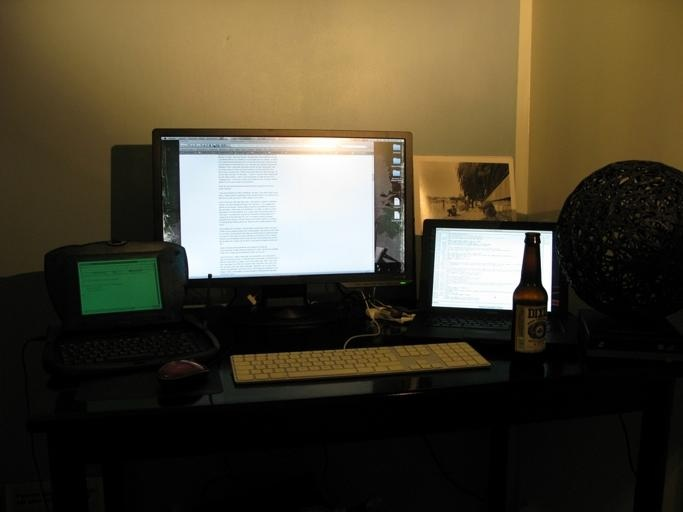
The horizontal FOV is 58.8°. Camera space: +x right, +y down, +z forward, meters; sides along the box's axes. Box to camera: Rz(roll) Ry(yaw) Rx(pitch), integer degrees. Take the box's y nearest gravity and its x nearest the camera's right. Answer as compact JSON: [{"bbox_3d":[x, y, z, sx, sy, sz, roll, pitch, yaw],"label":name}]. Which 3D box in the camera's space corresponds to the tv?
[{"bbox_3d":[-0.166,-0.088,1.755,0.741,0.551,0.245,-1,0,-6],"label":"tv"}]

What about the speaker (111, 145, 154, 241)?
[{"bbox_3d":[-0.651,-0.191,1.859,0.137,0.290,0.050,-6,12,-17],"label":"speaker"}]

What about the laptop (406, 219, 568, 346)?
[{"bbox_3d":[0.389,0.056,1.623,0.441,0.302,0.337,2,4,24],"label":"laptop"}]

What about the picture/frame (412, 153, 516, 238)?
[{"bbox_3d":[0.374,-0.182,1.913,0.262,0.196,0.012,-1,1,-6],"label":"picture/frame"}]

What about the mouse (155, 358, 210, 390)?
[{"bbox_3d":[-0.364,0.256,1.358,0.084,0.028,0.062,-6,18,-39],"label":"mouse"}]

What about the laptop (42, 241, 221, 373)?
[{"bbox_3d":[-0.533,0.113,1.489,0.379,0.241,0.342,-5,17,-36],"label":"laptop"}]
